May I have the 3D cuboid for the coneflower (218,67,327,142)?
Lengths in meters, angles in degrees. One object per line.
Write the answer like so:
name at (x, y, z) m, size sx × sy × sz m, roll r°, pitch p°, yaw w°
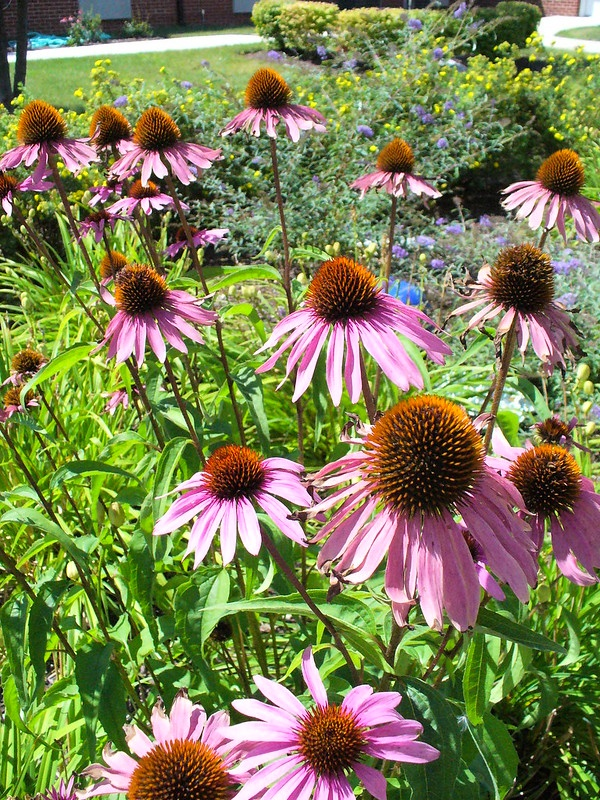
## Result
coneflower at (-0.056, -0.933, 2.213) m, size 0.357 × 0.204 × 0.349 m, roll -3°, pitch 31°, yaw -2°

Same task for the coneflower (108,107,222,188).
coneflower at (-0.449, -0.826, 2.282) m, size 0.354 × 0.180 × 0.345 m, roll -11°, pitch 17°, yaw -21°

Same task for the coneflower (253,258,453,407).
coneflower at (0.111, -0.150, 1.475) m, size 0.369 × 0.248 × 0.359 m, roll -9°, pitch 26°, yaw -8°
